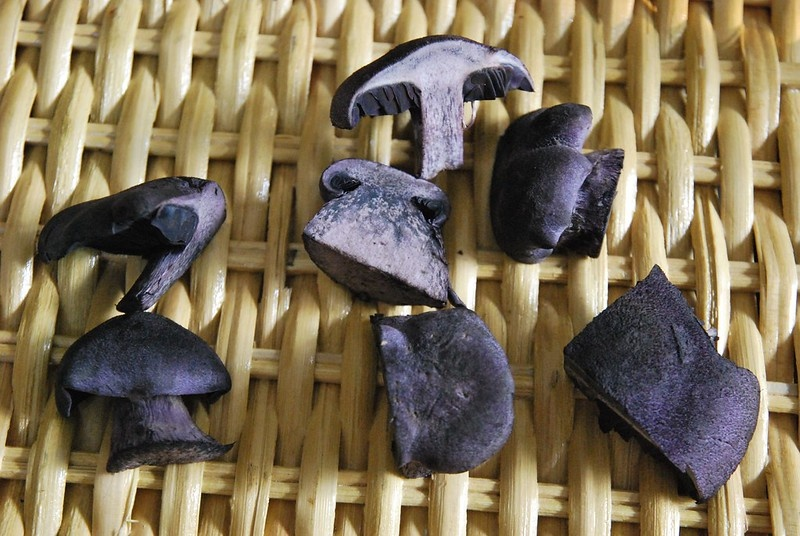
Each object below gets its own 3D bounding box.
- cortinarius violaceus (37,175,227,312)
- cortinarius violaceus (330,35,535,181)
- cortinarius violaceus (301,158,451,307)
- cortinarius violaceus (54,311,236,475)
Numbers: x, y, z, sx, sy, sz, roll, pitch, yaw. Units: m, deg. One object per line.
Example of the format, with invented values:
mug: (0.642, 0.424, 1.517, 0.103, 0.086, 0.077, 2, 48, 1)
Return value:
cortinarius violaceus: (-0.697, -0.095, 3.793, 0.380, 0.180, 0.332, -19, 19, 17)
cortinarius violaceus: (0.092, -0.434, 3.875, 0.452, 0.440, 0.396, -6, 83, 5)
cortinarius violaceus: (-0.056, -0.097, 3.790, 0.383, 0.171, 0.339, 10, 80, 2)
cortinarius violaceus: (-0.667, 0.309, 3.761, 0.345, 0.407, 0.404, -15, 71, 19)
